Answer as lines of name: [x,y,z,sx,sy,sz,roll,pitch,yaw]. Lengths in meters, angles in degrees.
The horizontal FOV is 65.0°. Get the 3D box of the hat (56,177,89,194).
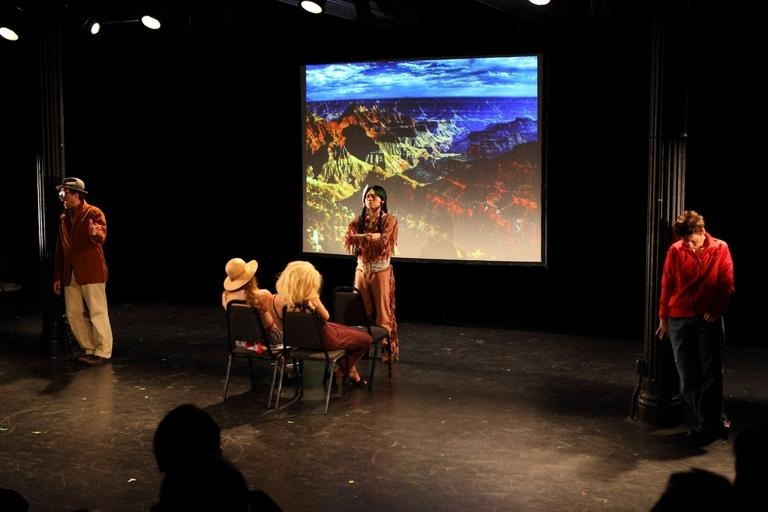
hat: [-3.634,-0.832,7.181,0.333,0.137,0.368,2,-5,7]

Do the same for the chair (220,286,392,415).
chair: [-0.814,0.846,6.126,1.490,1.275,1.127,2,11,16]

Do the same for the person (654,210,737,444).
person: [2.602,0.573,5.046,0.598,1.872,0.317,4,10,29]

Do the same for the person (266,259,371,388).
person: [-0.580,0.651,5.764,0.893,1.217,0.421,-2,9,-11]

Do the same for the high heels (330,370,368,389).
high heels: [-0.344,1.281,6.333,0.162,0.140,0.498,6,-1,41]

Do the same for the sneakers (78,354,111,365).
sneakers: [-3.418,1.217,7.122,0.388,0.159,0.128,0,8,-6]

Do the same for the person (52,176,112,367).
person: [-3.558,0.166,7.124,0.696,2.154,0.360,5,10,30]

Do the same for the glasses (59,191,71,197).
glasses: [-3.751,-0.732,7.065,0.093,0.043,0.124,12,-1,-35]

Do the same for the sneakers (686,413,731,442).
sneakers: [2.781,1.443,5.109,0.451,0.185,0.150,-3,3,-16]
